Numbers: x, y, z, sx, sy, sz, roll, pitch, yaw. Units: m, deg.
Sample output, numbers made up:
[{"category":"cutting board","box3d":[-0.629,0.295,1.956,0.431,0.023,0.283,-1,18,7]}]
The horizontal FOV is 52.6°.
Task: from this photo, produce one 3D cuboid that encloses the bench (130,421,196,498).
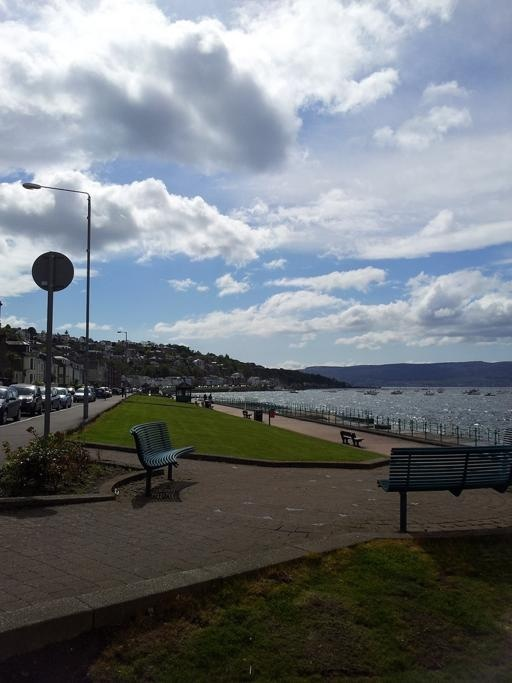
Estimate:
[{"category":"bench","box3d":[-1.869,2.386,10.317,0.947,1.055,2.203,-2,-4,1]}]
